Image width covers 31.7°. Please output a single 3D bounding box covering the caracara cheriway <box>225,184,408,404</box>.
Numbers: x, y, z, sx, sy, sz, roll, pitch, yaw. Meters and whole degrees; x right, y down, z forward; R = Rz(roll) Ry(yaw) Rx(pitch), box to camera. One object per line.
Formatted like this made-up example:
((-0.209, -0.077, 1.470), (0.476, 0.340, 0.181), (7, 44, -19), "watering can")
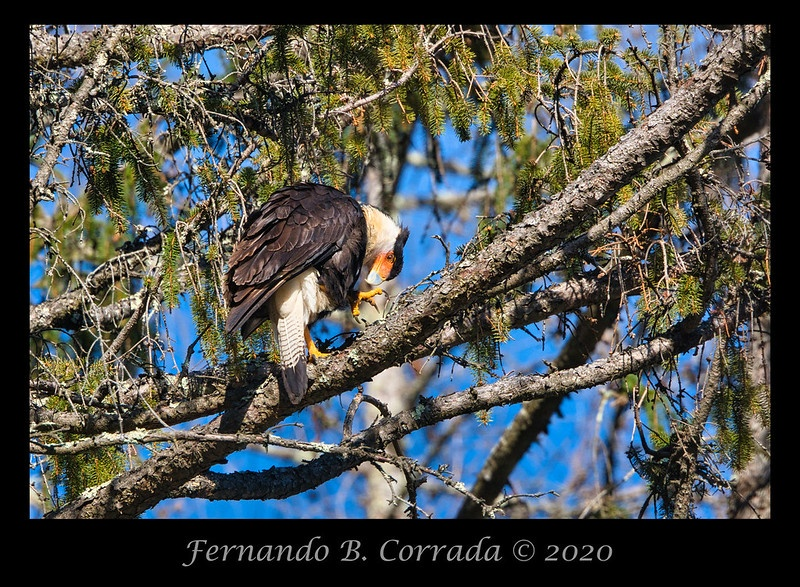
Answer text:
((-0.497, -0.055, 9.332), (1.182, 0.750, 1.578), (-3, 57, -31), "caracara cheriway")
